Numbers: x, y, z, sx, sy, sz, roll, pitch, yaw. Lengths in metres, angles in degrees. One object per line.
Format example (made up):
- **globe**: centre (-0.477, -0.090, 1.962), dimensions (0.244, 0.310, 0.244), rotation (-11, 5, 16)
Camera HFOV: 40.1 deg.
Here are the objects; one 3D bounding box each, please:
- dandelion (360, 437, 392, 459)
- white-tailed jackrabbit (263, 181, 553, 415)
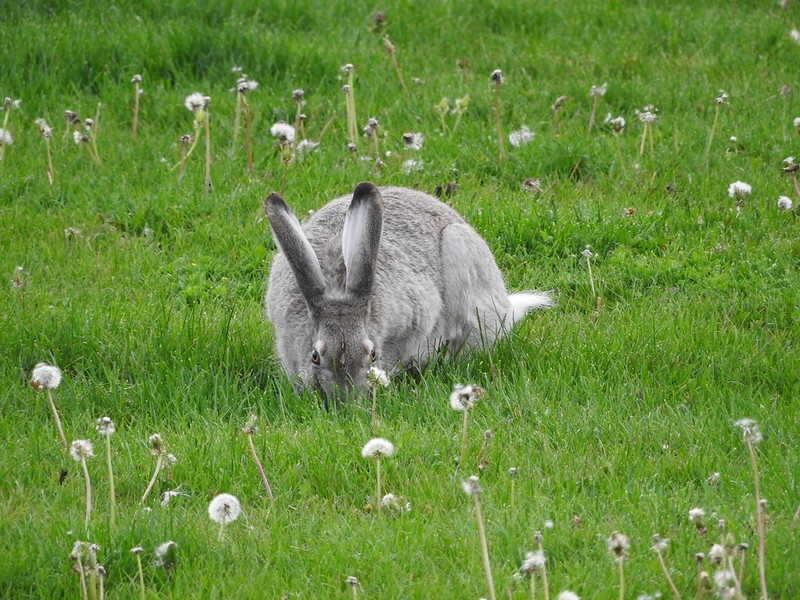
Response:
- **dandelion**: centre (-0.120, 0.742, 5.585), dimensions (0.127, 0.128, 0.139), rotation (0, -2, -1)
- **white-tailed jackrabbit**: centre (-0.064, -0.174, 7.548), dimensions (1.741, 1.351, 1.287), rotation (-5, 19, -35)
